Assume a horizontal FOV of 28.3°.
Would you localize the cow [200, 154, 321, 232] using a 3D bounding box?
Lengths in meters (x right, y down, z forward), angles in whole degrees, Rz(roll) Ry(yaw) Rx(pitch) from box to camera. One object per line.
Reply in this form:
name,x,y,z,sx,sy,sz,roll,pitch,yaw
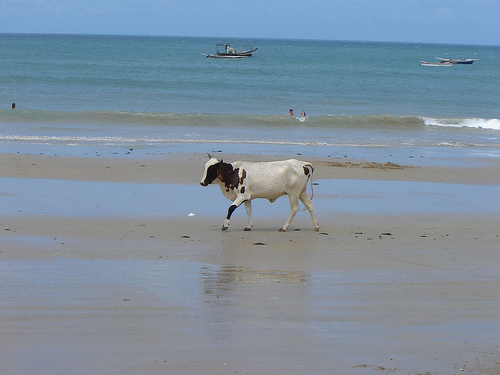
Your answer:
cow,0.207,0.223,25.963,2.903,1.991,1.601,2,63,0
